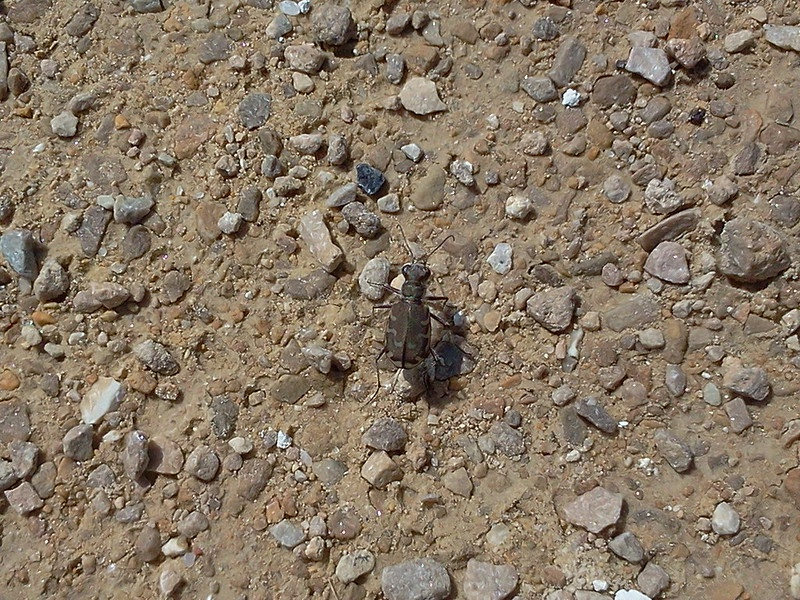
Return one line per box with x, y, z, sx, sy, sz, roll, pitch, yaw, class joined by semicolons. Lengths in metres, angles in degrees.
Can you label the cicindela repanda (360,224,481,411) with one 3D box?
0.071;0.146;6.241;0.637;0.255;1.149;3;75;2;cicindela repanda
